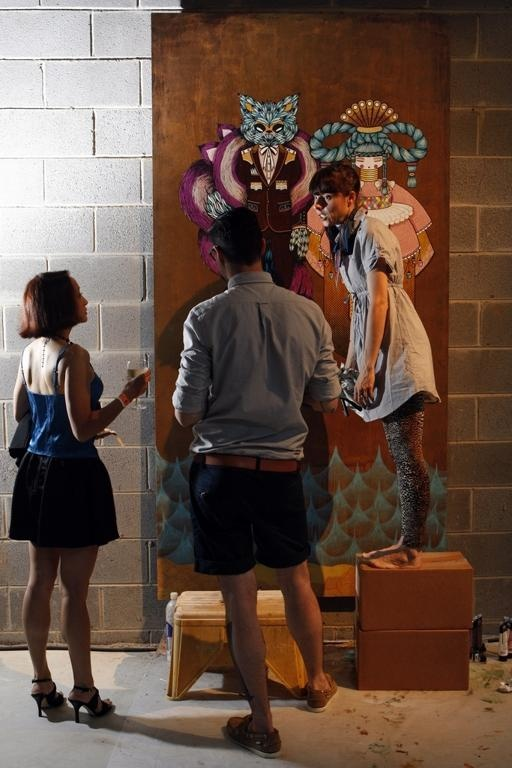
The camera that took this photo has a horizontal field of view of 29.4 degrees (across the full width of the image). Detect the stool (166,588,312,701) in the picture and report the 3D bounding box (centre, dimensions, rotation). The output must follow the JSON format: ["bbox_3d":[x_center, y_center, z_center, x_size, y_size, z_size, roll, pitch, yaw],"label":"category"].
[{"bbox_3d":[-0.104,0.985,3.781,0.457,0.218,0.439,1,-5,-24],"label":"stool"}]

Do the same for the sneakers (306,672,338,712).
[{"bbox_3d":[0.242,1.170,3.711,0.064,0.066,0.165,-3,2,14],"label":"sneakers"}]

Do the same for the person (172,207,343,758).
[{"bbox_3d":[0.009,0.322,3.450,0.450,1.861,0.488,4,10,29],"label":"person"}]

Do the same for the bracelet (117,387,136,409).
[{"bbox_3d":[-0.473,0.046,3.583,0.064,0.028,0.085,-35,7,7],"label":"bracelet"}]

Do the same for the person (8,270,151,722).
[{"bbox_3d":[-0.713,0.402,3.675,0.499,1.641,0.399,6,12,39],"label":"person"}]

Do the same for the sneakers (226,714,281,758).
[{"bbox_3d":[-0.013,1.231,3.436,0.088,0.082,0.219,7,-3,-29],"label":"sneakers"}]
